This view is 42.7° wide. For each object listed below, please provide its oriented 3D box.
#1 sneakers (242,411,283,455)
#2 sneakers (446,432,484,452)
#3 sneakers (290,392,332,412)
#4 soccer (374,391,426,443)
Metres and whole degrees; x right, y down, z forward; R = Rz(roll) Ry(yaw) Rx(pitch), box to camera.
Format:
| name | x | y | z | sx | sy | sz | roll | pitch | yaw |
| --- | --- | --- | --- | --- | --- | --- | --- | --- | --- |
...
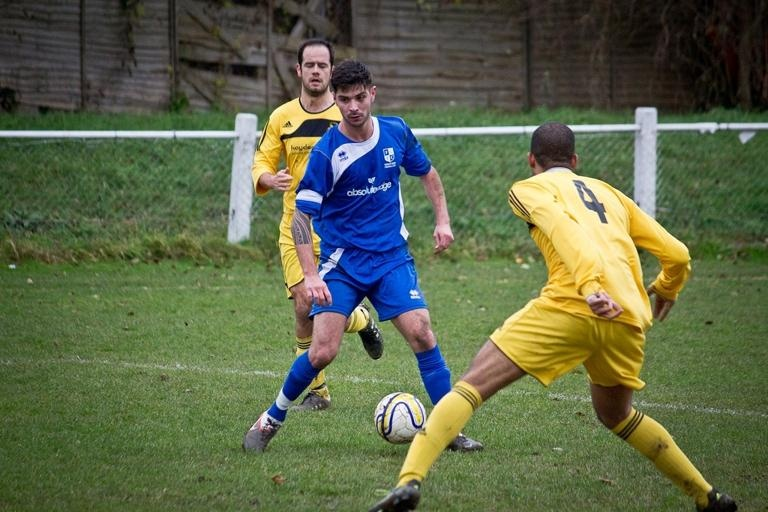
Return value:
| name | x | y | z | sx | sy | sz | roll | pitch | yaw |
| --- | --- | --- | --- | --- | --- | --- | --- | --- | --- |
| sneakers | -1.194 | 1.724 | 9.684 | 0.210 | 0.535 | 0.236 | 45 | 2 | 11 |
| sneakers | 0.805 | 1.826 | 9.695 | 0.376 | 0.168 | 0.179 | -2 | 5 | 5 |
| sneakers | -0.759 | 1.554 | 10.320 | 0.472 | 0.203 | 0.159 | 1 | -6 | -7 |
| soccer | 0.153 | 1.561 | 9.729 | 0.480 | 0.479 | 0.459 | -7 | -6 | -9 |
